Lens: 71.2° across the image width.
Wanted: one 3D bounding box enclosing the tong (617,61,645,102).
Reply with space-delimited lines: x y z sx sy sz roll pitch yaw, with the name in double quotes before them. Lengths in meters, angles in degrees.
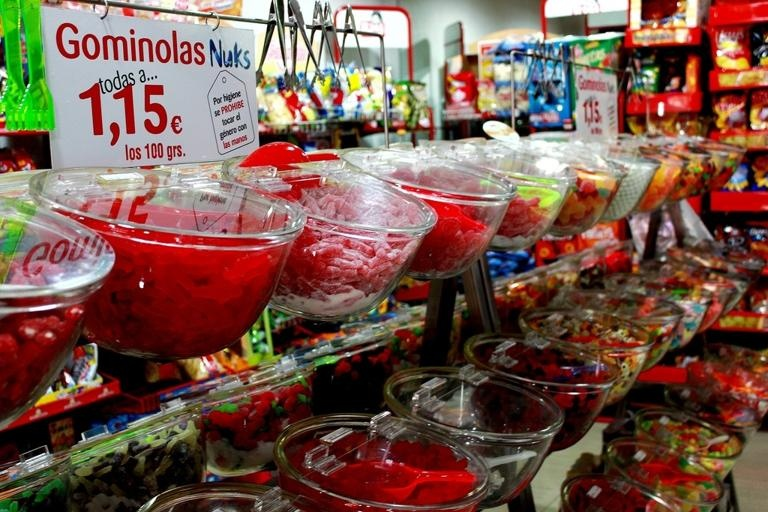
"tong" 1.382 -0.983 3.050 0.137 0.200 0.136 -20 20 -35
